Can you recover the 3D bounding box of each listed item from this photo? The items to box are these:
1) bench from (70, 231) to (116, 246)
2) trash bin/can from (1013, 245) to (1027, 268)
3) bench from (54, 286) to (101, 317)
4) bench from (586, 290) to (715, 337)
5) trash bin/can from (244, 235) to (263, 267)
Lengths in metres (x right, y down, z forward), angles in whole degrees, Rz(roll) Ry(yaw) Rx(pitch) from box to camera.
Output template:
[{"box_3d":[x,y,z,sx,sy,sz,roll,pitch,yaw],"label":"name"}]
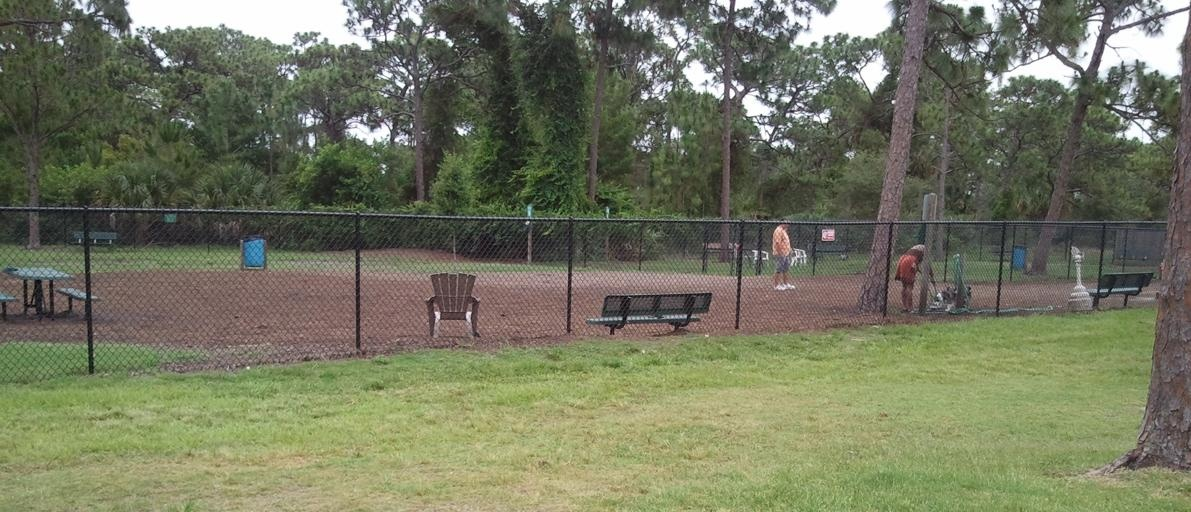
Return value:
[{"box_3d":[-39.642,-1.375,92.242,5.389,1.127,1.610,1,7,-1],"label":"bench"},{"box_3d":[33.783,0.146,92.824,0.911,1.851,2.137,1,-1,17],"label":"trash bin/can"},{"box_3d":[-35.046,3.027,78.964,2.719,1.770,7.715,1,-1,-24],"label":"bench"},{"box_3d":[3.861,3.933,79.765,7.233,2.046,1.446,0,-1,-2],"label":"bench"},{"box_3d":[-26.300,-0.213,89.771,1.568,2.147,0.549,1,0,-14],"label":"trash bin/can"}]
